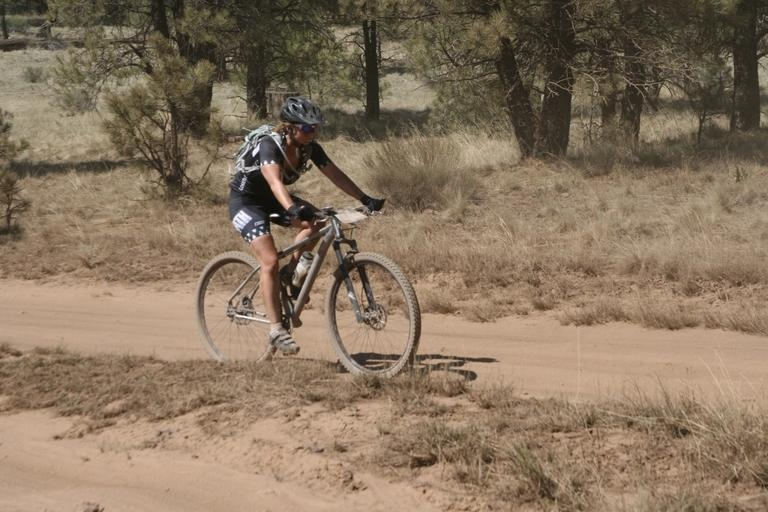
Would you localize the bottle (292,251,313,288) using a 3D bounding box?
[{"bbox_3d":[-1.536,0.260,19.272,0.143,0.640,0.329,24,3,-42],"label":"bottle"}]
